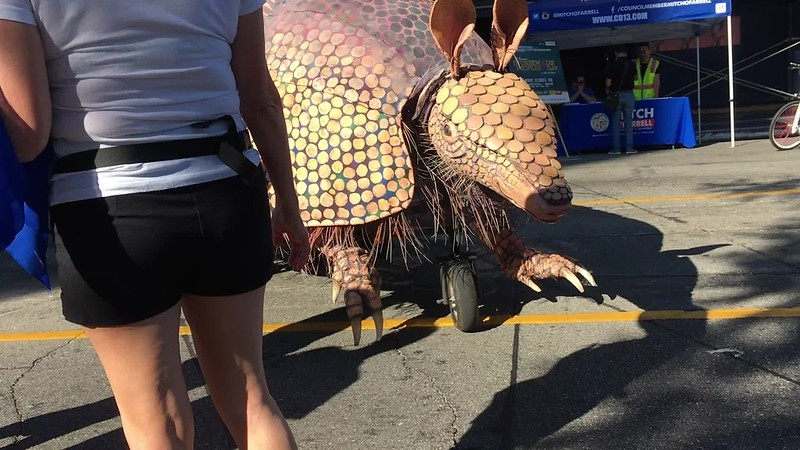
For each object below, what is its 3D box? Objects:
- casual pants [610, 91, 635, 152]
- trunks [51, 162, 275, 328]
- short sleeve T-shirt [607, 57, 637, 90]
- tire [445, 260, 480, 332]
[{"bbox_3d":[4.237,-1.959,11.729,0.481,1.205,0.368,2,-1,4],"label":"casual pants"},{"bbox_3d":[-1.143,0.110,2.645,0.533,0.534,0.783,0,4,-14],"label":"trunks"},{"bbox_3d":[4.100,-2.804,11.390,0.517,0.573,0.337,7,27,21],"label":"short sleeve T-shirt"},{"bbox_3d":[0.451,0.515,4.464,0.160,0.383,0.360,-7,45,-2],"label":"tire"}]
